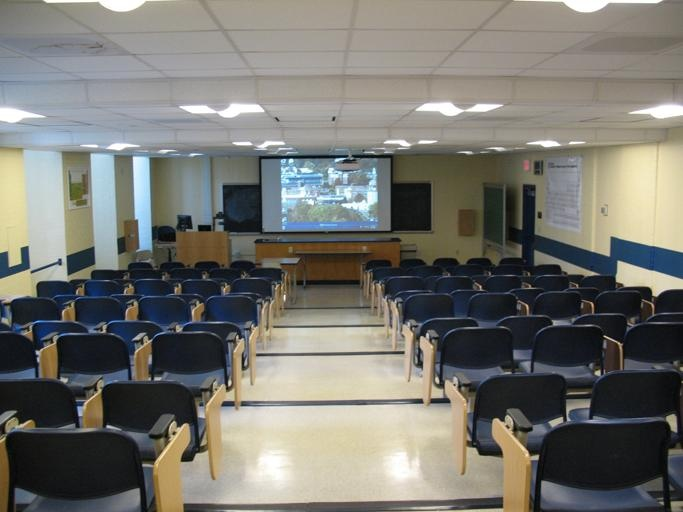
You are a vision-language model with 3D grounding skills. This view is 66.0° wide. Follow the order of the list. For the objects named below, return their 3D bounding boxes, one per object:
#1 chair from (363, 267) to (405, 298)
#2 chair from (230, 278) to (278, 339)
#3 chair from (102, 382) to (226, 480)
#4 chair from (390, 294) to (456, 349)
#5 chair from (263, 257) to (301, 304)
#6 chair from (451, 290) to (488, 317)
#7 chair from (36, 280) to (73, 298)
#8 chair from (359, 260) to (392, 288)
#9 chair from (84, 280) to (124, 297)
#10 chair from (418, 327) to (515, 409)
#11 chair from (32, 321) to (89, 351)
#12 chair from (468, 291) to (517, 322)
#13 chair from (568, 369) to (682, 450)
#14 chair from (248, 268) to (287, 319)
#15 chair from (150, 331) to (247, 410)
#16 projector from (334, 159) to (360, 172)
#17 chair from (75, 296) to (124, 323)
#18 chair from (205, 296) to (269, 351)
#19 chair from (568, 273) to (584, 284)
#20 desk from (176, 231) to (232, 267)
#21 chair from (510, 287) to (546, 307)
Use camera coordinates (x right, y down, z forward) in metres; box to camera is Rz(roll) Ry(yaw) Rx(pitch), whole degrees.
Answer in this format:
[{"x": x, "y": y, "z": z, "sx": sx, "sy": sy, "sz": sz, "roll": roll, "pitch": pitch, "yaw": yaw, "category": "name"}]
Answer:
[{"x": 0.839, "y": 0.486, "z": 10.448, "sx": 0.548, "sy": 0.724, "sz": 0.690, "roll": 2, "pitch": 7, "yaw": 5, "category": "chair"}, {"x": -1.336, "y": 0.775, "z": 8.046, "sx": 0.769, "sy": 1.220, "sz": 0.918, "roll": 1, "pitch": 5, "yaw": 4, "category": "chair"}, {"x": -1.344, "y": 1.127, "z": 4.164, "sx": 0.954, "sy": 0.802, "sz": 0.758, "roll": 1, "pitch": 6, "yaw": 2, "category": "chair"}, {"x": 1.070, "y": 0.816, "z": 6.978, "sx": 0.704, "sy": 0.661, "sz": 0.557, "roll": 0, "pitch": 5, "yaw": 1, "category": "chair"}, {"x": -1.374, "y": 0.529, "z": 12.489, "sx": 0.960, "sy": 0.883, "sz": 0.940, "roll": -1, "pitch": 2, "yaw": -6, "category": "chair"}, {"x": 1.771, "y": 0.613, "z": 7.482, "sx": 0.419, "sy": 0.528, "sz": 0.410, "roll": 1, "pitch": 6, "yaw": 7, "category": "chair"}, {"x": -4.551, "y": 0.521, "z": 8.450, "sx": 0.707, "sy": 0.276, "sz": 0.391, "roll": 5, "pitch": 10, "yaw": 40, "category": "chair"}, {"x": 0.751, "y": 0.423, "z": 12.414, "sx": 0.708, "sy": 0.934, "sz": 0.718, "roll": 1, "pitch": 3, "yaw": 4, "category": "chair"}, {"x": -3.744, "y": 0.494, "z": 8.297, "sx": 0.556, "sy": 0.241, "sz": 0.552, "roll": -4, "pitch": 8, "yaw": -24, "category": "chair"}, {"x": 1.208, "y": 0.929, "z": 5.270, "sx": 0.984, "sy": 0.924, "sz": 0.766, "roll": 0, "pitch": 6, "yaw": 1, "category": "chair"}, {"x": -2.767, "y": 0.784, "z": 5.179, "sx": 0.278, "sy": 0.349, "sz": 0.273, "roll": 3, "pitch": 9, "yaw": -4, "category": "chair"}, {"x": 1.953, "y": 0.614, "z": 6.885, "sx": 0.438, "sy": 0.531, "sz": 0.429, "roll": 1, "pitch": 8, "yaw": 4, "category": "chair"}, {"x": 2.144, "y": 1.117, "z": 4.162, "sx": 0.567, "sy": 0.877, "sz": 0.662, "roll": -1, "pitch": 5, "yaw": 2, "category": "chair"}, {"x": -1.268, "y": 0.674, "z": 9.957, "sx": 0.851, "sy": 1.115, "sz": 0.831, "roll": 2, "pitch": 9, "yaw": 6, "category": "chair"}, {"x": -1.384, "y": 0.969, "z": 5.319, "sx": 0.890, "sy": 0.944, "sz": 0.772, "roll": 1, "pitch": 20, "yaw": 0, "category": "chair"}, {"x": 0.097, "y": -2.087, "z": 12.078, "sx": 0.463, "sy": 0.204, "sz": 0.462, "roll": 3, "pitch": 6, "yaw": 29, "category": "projector"}, {"x": -3.128, "y": 0.653, "z": 6.867, "sx": 0.435, "sy": 0.549, "sz": 0.442, "roll": 3, "pitch": 10, "yaw": -2, "category": "chair"}, {"x": -1.340, "y": 0.828, "z": 6.977, "sx": 0.667, "sy": 0.846, "sz": 0.625, "roll": 1, "pitch": 10, "yaw": 1, "category": "chair"}, {"x": 3.983, "y": 0.383, "z": 8.963, "sx": 0.219, "sy": 0.266, "sz": 0.233, "roll": 4, "pitch": 5, "yaw": 30, "category": "chair"}, {"x": -3.647, "y": -0.158, "z": 14.321, "sx": 1.471, "sy": 1.017, "sz": 0.758, "roll": 0, "pitch": 2, "yaw": 9, "category": "desk"}, {"x": 2.628, "y": 0.541, "z": 7.420, "sx": 0.327, "sy": 0.405, "sz": 0.319, "roll": 1, "pitch": 10, "yaw": 9, "category": "chair"}]
